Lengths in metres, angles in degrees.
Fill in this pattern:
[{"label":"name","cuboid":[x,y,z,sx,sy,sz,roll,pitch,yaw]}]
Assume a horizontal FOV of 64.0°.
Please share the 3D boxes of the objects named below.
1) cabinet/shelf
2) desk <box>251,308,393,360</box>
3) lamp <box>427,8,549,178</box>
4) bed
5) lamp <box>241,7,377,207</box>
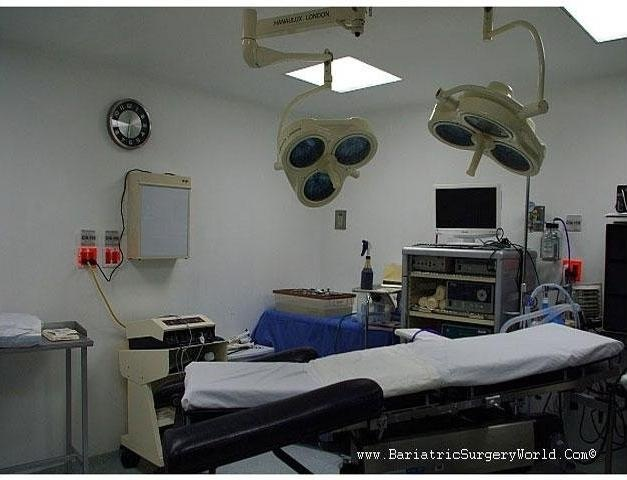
[{"label":"cabinet/shelf","cuboid":[1.428,0.385,4.477,0.805,1.150,1.067,-4,5,-44]},{"label":"desk","cuboid":[0.014,0.904,4.903,0.606,0.256,0.944,2,-3,-38]},{"label":"lamp","cuboid":[0.796,-0.680,2.332,0.515,0.807,0.377,-3,9,15]},{"label":"bed","cuboid":[0.483,0.662,2.709,2.315,0.304,0.687,-10,10,-16]},{"label":"lamp","cuboid":[-0.004,-0.636,2.851,0.847,1.357,0.655,-2,0,9]}]
